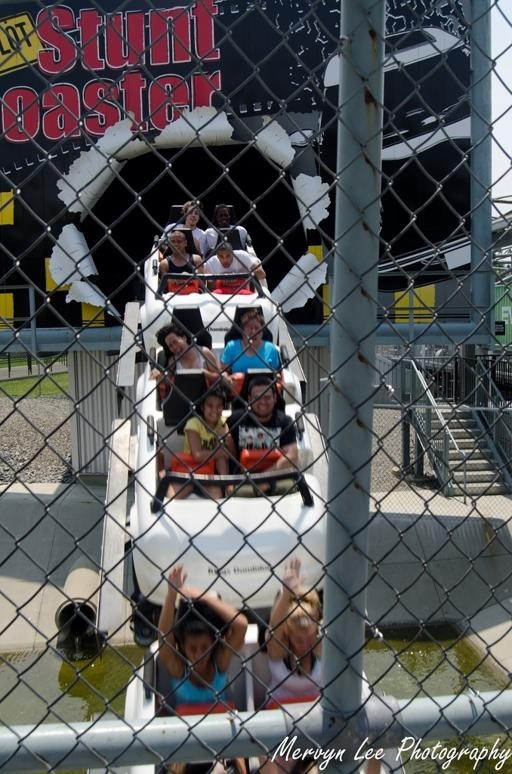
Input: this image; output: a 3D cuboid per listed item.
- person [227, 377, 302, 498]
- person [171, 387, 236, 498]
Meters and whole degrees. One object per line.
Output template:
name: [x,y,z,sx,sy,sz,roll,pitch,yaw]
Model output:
person: [0.031,0.434,4.751,0.430,1.079,0.575,0,35,-4]
person: [-0.308,0.346,4.559,0.454,0.768,0.534,1,38,-9]
